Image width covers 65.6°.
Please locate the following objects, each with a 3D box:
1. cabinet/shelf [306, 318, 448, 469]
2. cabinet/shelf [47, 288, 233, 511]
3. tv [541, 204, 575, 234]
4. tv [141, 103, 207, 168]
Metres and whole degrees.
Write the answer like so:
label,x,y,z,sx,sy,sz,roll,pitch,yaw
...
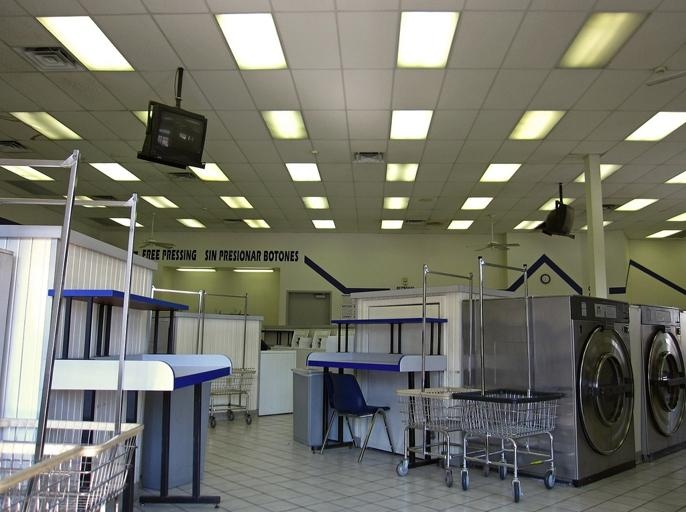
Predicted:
label,x,y,z,sx,sy,sz,roll,pitch,yaw
cabinet/shelf,0.458,1.759,6.553,0.679,1.381,1.681,12,-17,-37
cabinet/shelf,-1.726,1.265,4.556,1.048,1.665,2.558,0,-6,-2
tv,4.100,-0.695,10.115,0.464,0.669,0.777,-2,-12,17
tv,-2.088,-1.496,6.590,0.753,0.686,0.430,7,-13,-27
